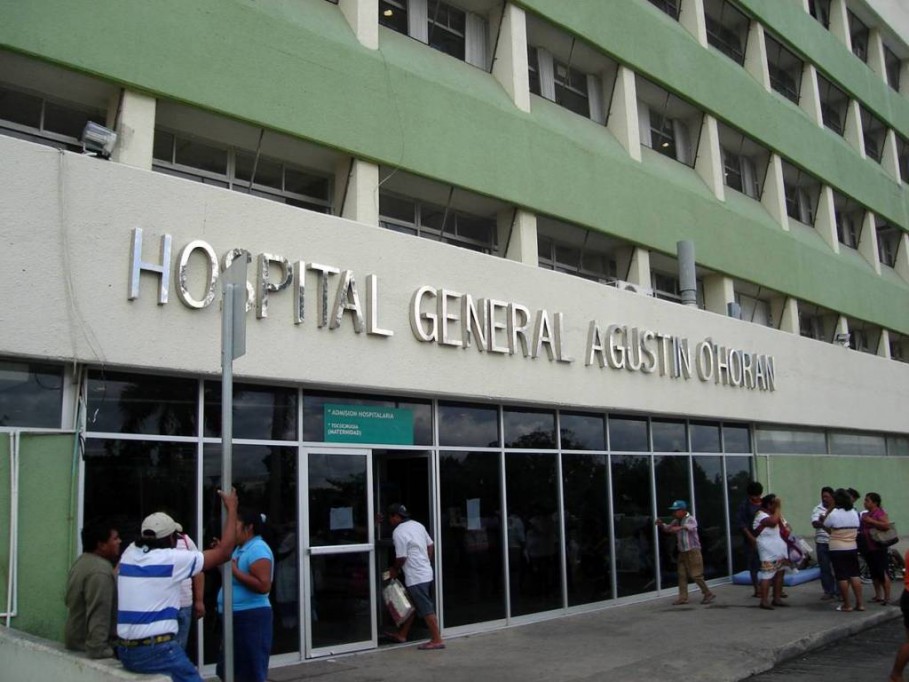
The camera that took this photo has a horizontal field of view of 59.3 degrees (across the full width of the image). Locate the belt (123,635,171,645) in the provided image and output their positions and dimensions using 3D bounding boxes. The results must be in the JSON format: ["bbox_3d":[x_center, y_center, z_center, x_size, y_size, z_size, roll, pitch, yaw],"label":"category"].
[{"bbox_3d":[-2.874,2.782,7.419,0.392,0.084,0.071,1,-8,-15],"label":"belt"}]

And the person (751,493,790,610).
[{"bbox_3d":[6.111,4.074,15.456,0.513,2.135,0.775,-8,-10,43],"label":"person"}]

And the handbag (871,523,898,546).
[{"bbox_3d":[7.804,3.531,14.512,0.486,0.553,0.246,-3,-4,33],"label":"handbag"}]

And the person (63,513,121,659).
[{"bbox_3d":[-3.701,2.529,8.195,0.411,1.282,0.803,5,-10,-38],"label":"person"}]

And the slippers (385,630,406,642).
[{"bbox_3d":[-0.972,4.802,12.962,0.297,0.140,0.156,12,-11,8],"label":"slippers"}]

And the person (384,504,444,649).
[{"bbox_3d":[-0.618,3.726,12.651,0.597,2.248,0.852,-6,-9,32],"label":"person"}]

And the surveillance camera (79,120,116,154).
[{"bbox_3d":[-4.901,-2.753,10.916,0.410,0.422,0.312,3,-9,-28],"label":"surveillance camera"}]
